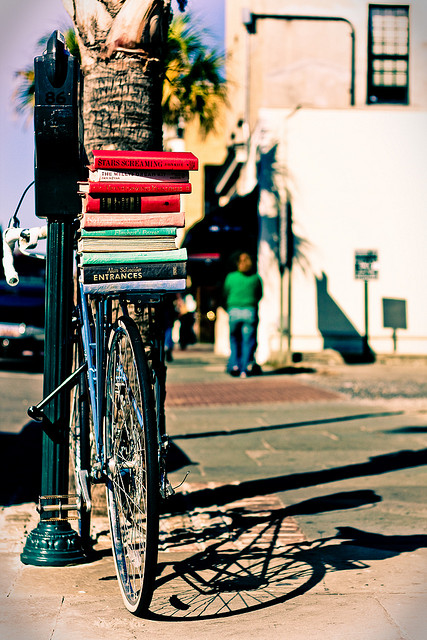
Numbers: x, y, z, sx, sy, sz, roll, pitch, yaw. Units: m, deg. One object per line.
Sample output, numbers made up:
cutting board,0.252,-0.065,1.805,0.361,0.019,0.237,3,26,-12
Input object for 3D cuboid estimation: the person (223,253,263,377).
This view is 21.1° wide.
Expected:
person,0.337,-0.042,13.328,0.421,1.429,0.822,-1,3,1

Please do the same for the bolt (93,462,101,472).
bolt,-0.504,0.633,4.992,0.025,0.039,0.048,7,-5,-29

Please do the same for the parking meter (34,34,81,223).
parking meter,-0.714,-0.862,5.208,0.209,0.843,0.127,-2,3,-8
